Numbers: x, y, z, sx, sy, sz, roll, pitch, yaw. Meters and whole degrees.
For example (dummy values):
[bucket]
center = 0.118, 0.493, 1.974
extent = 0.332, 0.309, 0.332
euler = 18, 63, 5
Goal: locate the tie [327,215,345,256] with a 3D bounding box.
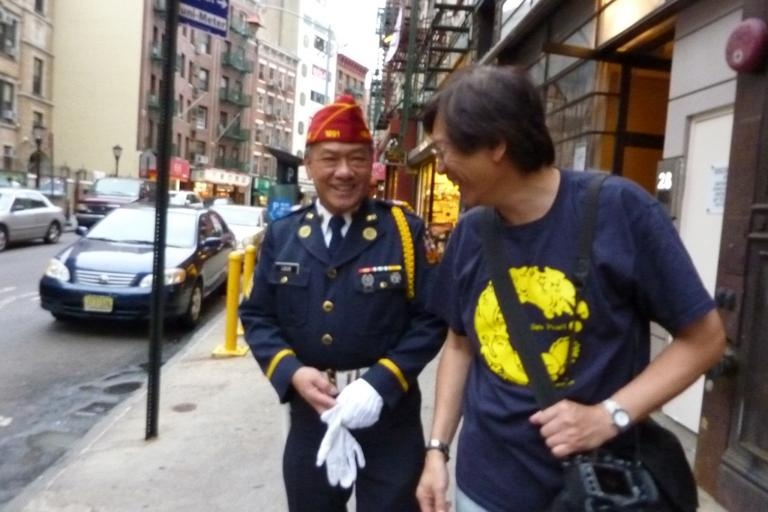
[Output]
[tie]
center = -0.266, -0.116, 3.329
extent = 0.069, 0.225, 0.063
euler = 4, -15, 5

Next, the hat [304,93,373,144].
[hat]
center = -0.240, -0.734, 3.286
extent = 0.245, 0.208, 0.339
euler = -3, 2, -29

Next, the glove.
[glove]
center = -0.183, 0.886, 3.027
extent = 0.290, 0.566, 0.132
euler = 6, -5, -14

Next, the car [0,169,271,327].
[car]
center = -3.582, 0.159, 9.008
extent = 1.795, 1.712, 2.502
euler = 4, 7, 1
